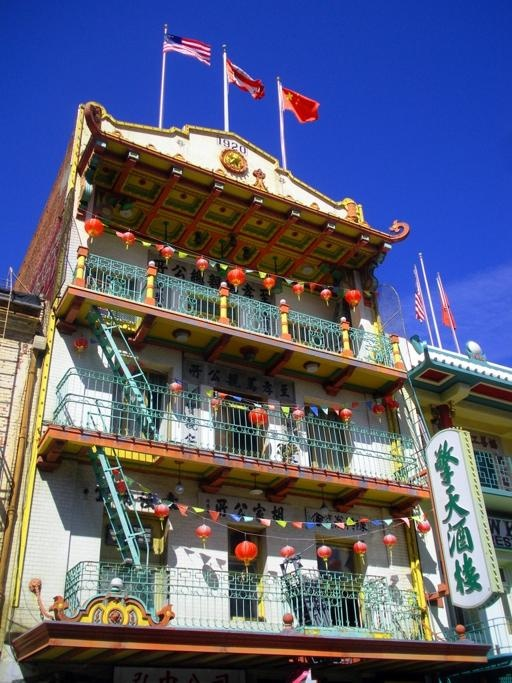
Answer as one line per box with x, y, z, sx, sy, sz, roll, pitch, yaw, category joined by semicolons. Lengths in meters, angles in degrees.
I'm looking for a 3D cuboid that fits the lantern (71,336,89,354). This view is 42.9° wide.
-3.835;0.064;14.195;0.346;0.356;0.313;-5;-27;-12;lantern
